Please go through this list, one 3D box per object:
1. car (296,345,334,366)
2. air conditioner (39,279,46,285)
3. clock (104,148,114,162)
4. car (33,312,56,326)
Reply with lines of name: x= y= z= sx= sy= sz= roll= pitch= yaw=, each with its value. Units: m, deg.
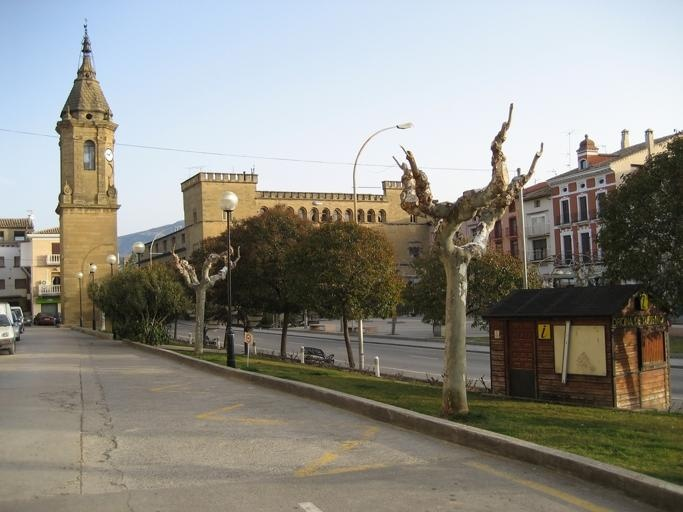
car: x=-1.164 y=4.805 z=38.090 sx=1.420 sy=0.787 sz=0.929 roll=1 pitch=0 yaw=-2
air conditioner: x=-32.049 y=2.814 z=85.483 sx=0.621 sy=0.389 sz=0.456 roll=-2 pitch=8 yaw=-16
clock: x=-19.229 y=-8.375 z=65.697 sx=0.688 sy=1.039 sz=1.719 roll=-1 pitch=3 yaw=-20
car: x=-27.030 y=5.758 z=72.493 sx=1.390 sy=0.974 sz=2.448 roll=-2 pitch=3 yaw=-40
